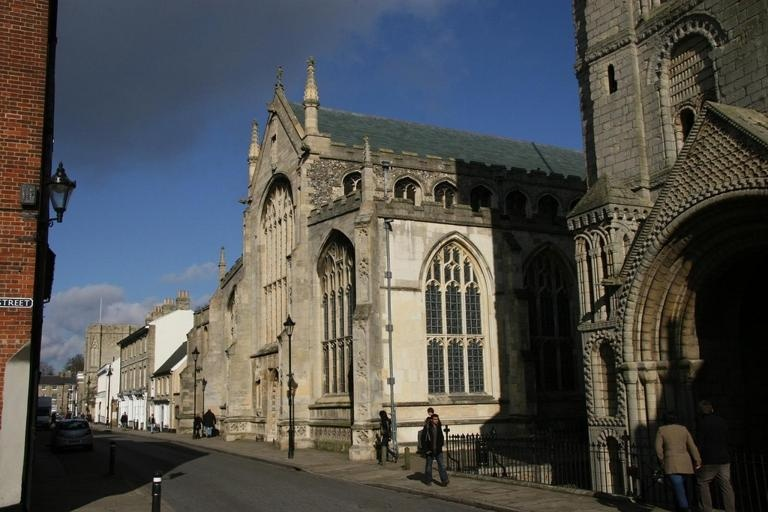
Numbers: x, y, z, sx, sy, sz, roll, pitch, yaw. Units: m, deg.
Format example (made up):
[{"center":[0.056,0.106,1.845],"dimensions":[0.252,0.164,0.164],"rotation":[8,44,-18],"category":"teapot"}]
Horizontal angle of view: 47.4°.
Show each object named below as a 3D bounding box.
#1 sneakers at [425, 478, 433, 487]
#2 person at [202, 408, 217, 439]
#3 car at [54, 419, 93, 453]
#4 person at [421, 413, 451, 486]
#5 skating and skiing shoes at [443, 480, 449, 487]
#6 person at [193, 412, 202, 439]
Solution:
[{"center":[1.486,7.466,29.013],"dimensions":[0.283,0.260,0.137],"rotation":[14,-21,-26],"category":"sneakers"},{"center":[-10.813,10.197,53.949],"dimensions":[0.747,1.706,1.188],"rotation":[4,-17,-11],"category":"person"},{"center":[-15.439,8.691,43.032],"dimensions":[1.774,1.611,1.622],"rotation":[15,-22,-41],"category":"car"},{"center":[1.671,6.474,29.486],"dimensions":[0.867,2.412,1.497],"rotation":[-1,-17,3],"category":"person"},{"center":[1.990,7.403,28.672],"dimensions":[0.196,0.172,0.300],"rotation":[-2,-17,6],"category":"skating and skiing shoes"},{"center":[-11.581,10.450,54.053],"dimensions":[0.430,1.553,1.887],"rotation":[3,-17,-10],"category":"person"}]
